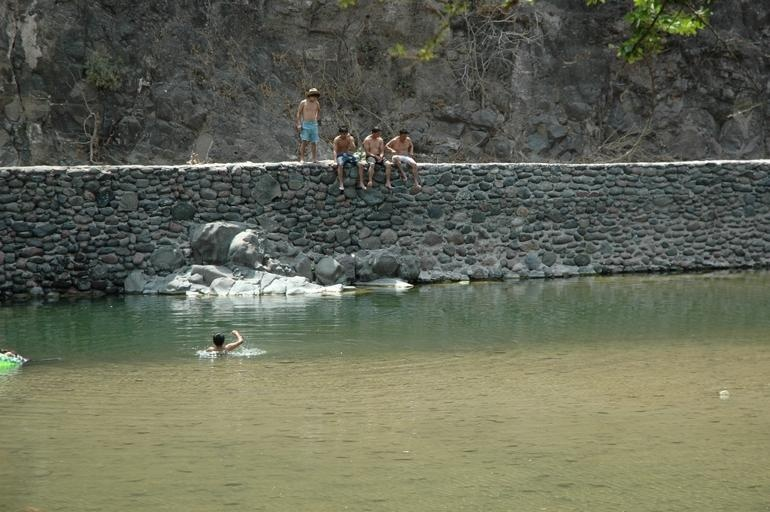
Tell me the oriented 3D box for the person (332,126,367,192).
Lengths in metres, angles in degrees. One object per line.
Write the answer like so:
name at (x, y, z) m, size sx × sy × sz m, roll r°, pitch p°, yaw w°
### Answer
person at (-0.827, -2.235, 25.710) m, size 0.680 × 1.468 × 1.062 m, roll -1°, pitch 12°, yaw -2°

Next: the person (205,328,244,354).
person at (-2.856, 1.421, 19.936) m, size 0.642 × 0.406 × 0.827 m, roll -2°, pitch 12°, yaw -4°
